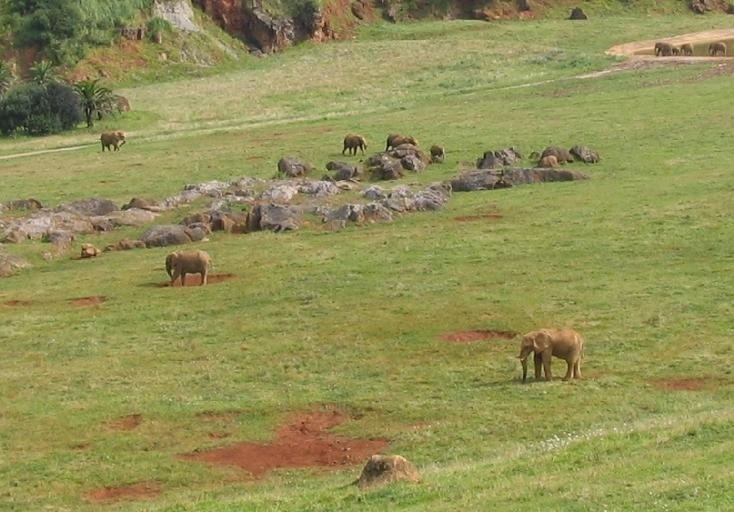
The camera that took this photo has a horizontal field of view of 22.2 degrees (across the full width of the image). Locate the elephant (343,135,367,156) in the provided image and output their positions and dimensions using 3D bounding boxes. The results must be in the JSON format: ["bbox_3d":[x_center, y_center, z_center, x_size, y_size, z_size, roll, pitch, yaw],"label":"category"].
[{"bbox_3d":[-0.905,-8.705,145.276,1.814,1.582,2.375,-5,8,0],"label":"elephant"}]

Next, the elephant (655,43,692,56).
[{"bbox_3d":[28.728,-19.377,174.491,3.370,1.185,1.630,-3,-18,2],"label":"elephant"}]
